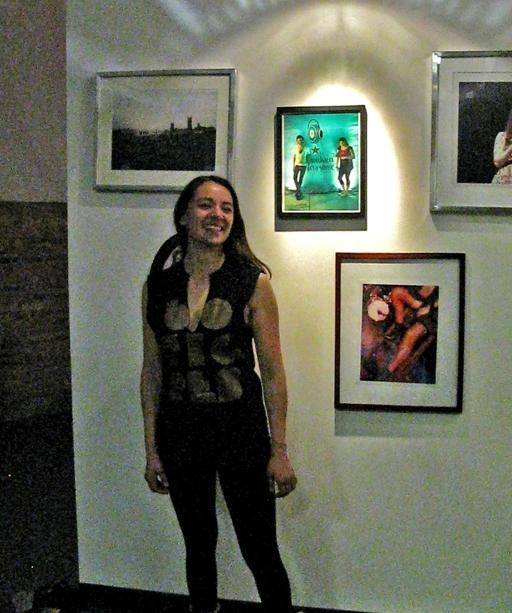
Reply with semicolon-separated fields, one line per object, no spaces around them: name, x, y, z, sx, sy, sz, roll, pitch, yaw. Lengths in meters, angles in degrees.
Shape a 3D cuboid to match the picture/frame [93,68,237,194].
picture/frame;-0.246;-0.511;1.744;0.422;0.326;0.027;1;1;4
